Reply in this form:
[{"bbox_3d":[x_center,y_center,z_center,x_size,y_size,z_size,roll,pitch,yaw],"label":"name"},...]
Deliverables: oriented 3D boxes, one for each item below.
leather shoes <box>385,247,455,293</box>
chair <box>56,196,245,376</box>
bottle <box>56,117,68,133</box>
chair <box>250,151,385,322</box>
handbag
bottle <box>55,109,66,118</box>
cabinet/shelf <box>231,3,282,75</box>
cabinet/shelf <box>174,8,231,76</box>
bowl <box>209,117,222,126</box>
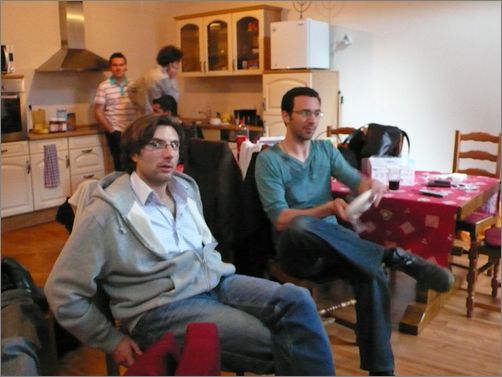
[{"bbox_3d":[0.917,0.459,2.304,0.446,0.236,0.129,18,0,-12],"label":"leather shoes"},{"bbox_3d":[-0.489,0.278,1.706,0.644,0.699,0.784,-1,10,20],"label":"chair"},{"bbox_3d":[-2.430,-0.828,5.162,0.140,0.154,0.161,-1,9,0],"label":"bottle"},{"bbox_3d":[0.580,0.364,2.645,0.725,1.215,0.670,-2,8,36],"label":"chair"},{"bbox_3d":[1.008,-0.440,3.093,0.398,0.284,0.375,1,-10,-42],"label":"handbag"},{"bbox_3d":[-2.608,-1.026,5.387,0.134,0.134,0.017,-4,-4,-39],"label":"bottle"},{"bbox_3d":[0.073,-2.038,5.410,0.675,0.890,0.331,-1,12,-2],"label":"cabinet/shelf"},{"bbox_3d":[-0.689,-2.125,5.777,1.216,1.059,0.484,8,16,36],"label":"cabinet/shelf"},{"bbox_3d":[-0.534,-1.017,5.968,0.138,0.085,0.140,0,8,0],"label":"bowl"}]
